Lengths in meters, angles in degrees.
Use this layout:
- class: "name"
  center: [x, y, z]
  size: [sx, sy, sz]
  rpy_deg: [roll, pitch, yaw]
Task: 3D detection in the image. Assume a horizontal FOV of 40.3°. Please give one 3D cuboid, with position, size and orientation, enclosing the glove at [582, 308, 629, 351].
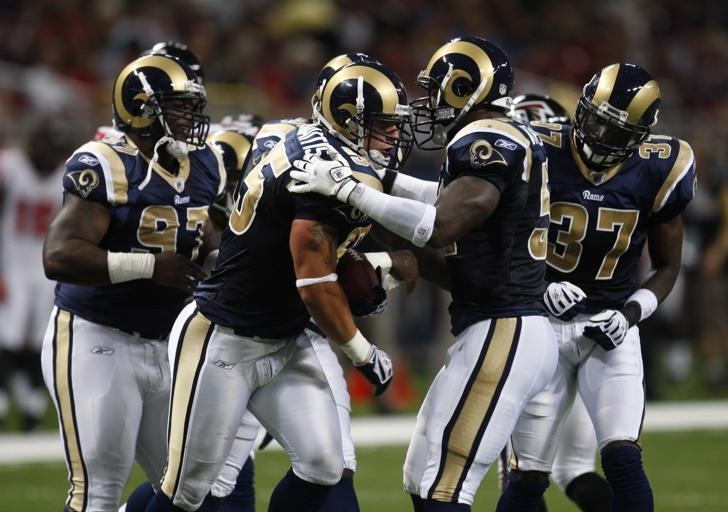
- class: "glove"
  center: [1.431, 0.435, 5.778]
  size: [0.286, 0.230, 0.088]
  rpy_deg: [5, 1, -15]

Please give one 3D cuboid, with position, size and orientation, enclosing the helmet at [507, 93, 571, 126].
- class: "helmet"
  center: [1.242, -1.022, 6.882]
  size: [0.391, 0.221, 0.478]
  rpy_deg: [6, 1, 9]

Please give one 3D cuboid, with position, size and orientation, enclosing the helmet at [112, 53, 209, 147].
- class: "helmet"
  center: [-1.120, -0.916, 5.829]
  size: [0.537, 0.482, 0.447]
  rpy_deg: [10, 13, 15]

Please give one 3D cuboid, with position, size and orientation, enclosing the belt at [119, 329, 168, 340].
- class: "belt"
  center: [-1.237, 0.457, 5.669]
  size: [0.275, 0.042, 0.036]
  rpy_deg: [5, 1, -35]

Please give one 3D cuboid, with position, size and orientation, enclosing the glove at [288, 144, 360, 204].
- class: "glove"
  center: [-0.209, -0.411, 5.104]
  size: [0.339, 0.236, 0.136]
  rpy_deg: [6, 1, 24]

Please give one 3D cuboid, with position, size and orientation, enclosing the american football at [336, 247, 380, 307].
- class: "american football"
  center: [-0.014, 0.140, 5.354]
  size: [0.201, 0.286, 0.249]
  rpy_deg: [-27, -13, 7]

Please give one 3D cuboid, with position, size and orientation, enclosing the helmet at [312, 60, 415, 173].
- class: "helmet"
  center: [0.041, -0.833, 5.467]
  size: [0.557, 0.479, 0.506]
  rpy_deg: [31, 17, -1]

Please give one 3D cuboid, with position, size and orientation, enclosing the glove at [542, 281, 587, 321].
- class: "glove"
  center: [1.157, 0.265, 5.805]
  size: [0.239, 0.194, 0.111]
  rpy_deg: [33, -10, -2]
